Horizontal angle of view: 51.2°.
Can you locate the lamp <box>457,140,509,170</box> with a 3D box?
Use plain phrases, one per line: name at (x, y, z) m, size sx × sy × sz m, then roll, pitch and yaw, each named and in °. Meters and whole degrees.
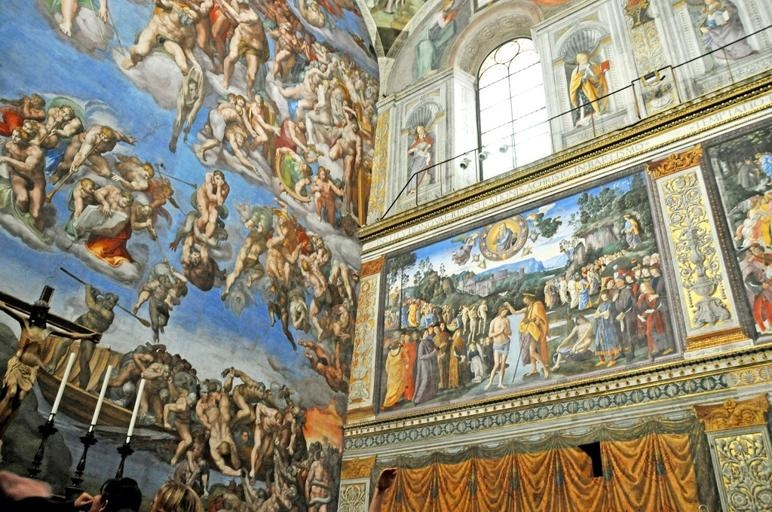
lamp at (2.512, -2.587, 20.881) m, size 2.061 × 0.759 × 0.386 m, roll -3°, pitch -59°, yaw 46°
